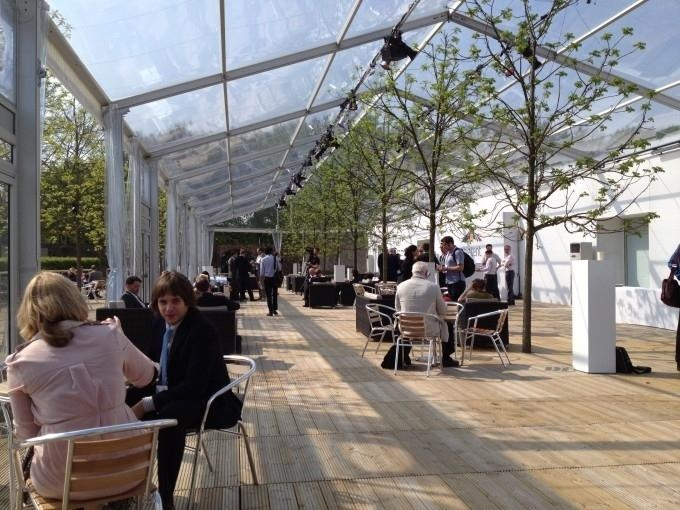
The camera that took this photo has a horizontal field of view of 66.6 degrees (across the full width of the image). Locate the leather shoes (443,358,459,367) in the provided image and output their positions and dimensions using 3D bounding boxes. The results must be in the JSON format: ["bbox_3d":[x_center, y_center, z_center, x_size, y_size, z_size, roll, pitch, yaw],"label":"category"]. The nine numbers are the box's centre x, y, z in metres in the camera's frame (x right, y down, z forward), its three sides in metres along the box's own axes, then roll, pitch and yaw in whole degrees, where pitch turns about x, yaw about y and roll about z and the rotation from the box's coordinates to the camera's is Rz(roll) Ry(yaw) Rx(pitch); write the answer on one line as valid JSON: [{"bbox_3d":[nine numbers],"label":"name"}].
[{"bbox_3d":[1.755,1.705,8.324,0.261,0.113,0.120,0,-3,-18],"label":"leather shoes"}]

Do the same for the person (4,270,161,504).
[{"bbox_3d":[-1.429,0.533,2.806,0.676,0.895,0.398,2,-4,-18],"label":"person"}]

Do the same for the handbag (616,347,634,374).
[{"bbox_3d":[4.293,1.583,7.832,0.271,0.371,0.208,0,-4,15],"label":"handbag"}]

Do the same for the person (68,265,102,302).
[{"bbox_3d":[-8.504,0.888,17.422,1.123,1.408,1.313,1,-33,-22],"label":"person"}]
